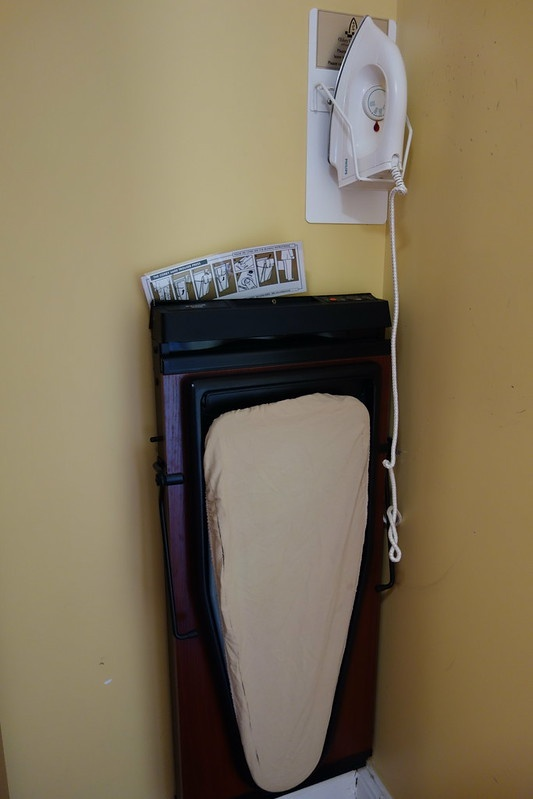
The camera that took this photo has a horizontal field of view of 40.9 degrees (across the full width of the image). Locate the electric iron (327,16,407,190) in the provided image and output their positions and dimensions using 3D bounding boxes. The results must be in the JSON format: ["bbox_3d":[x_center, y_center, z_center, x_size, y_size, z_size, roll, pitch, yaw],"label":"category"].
[{"bbox_3d":[0.163,-0.416,1.109,0.099,0.297,0.122,-12,29,-31],"label":"electric iron"}]

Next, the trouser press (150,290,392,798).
[{"bbox_3d":[0.021,0.291,1.222,0.419,0.934,0.146,-5,7,-22],"label":"trouser press"}]
